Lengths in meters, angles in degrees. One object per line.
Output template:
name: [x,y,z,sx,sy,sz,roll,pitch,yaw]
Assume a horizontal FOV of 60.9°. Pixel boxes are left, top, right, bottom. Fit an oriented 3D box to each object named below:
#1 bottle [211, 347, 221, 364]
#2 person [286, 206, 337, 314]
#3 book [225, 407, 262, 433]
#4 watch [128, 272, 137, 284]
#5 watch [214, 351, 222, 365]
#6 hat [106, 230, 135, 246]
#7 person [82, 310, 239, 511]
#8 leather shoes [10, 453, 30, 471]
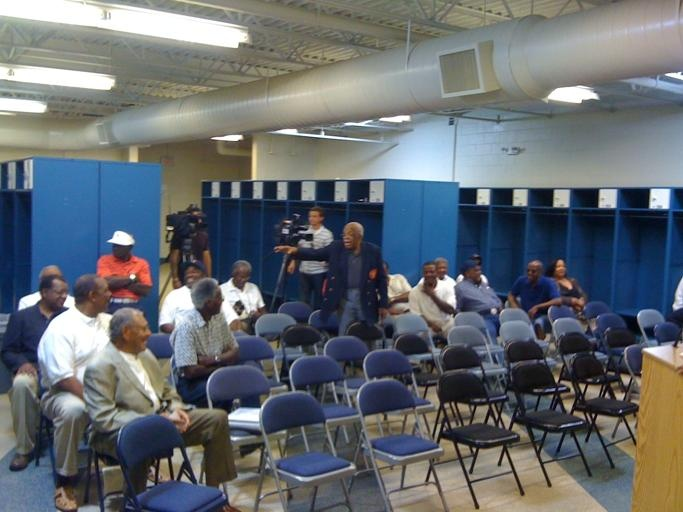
bottle: [-1.139,0.920,5.319,0.068,0.107,0.108,1,-20,33]
person: [-0.515,0.151,9.325,0.641,1.957,0.613,4,27,-6]
book: [-0.816,1.368,4.848,0.246,0.062,0.262,4,7,12]
watch: [-2.554,0.254,7.063,0.089,0.021,0.087,41,51,22]
watch: [-1.137,0.930,5.306,0.057,0.090,0.090,5,14,2]
hat: [-2.678,-0.193,7.100,0.217,0.148,0.287,6,-10,14]
person: [-1.464,1.217,4.590,1.008,1.599,0.716,-4,3,-31]
leather shoes: [-2.893,1.835,5.195,0.168,0.127,0.155,-4,3,-28]
